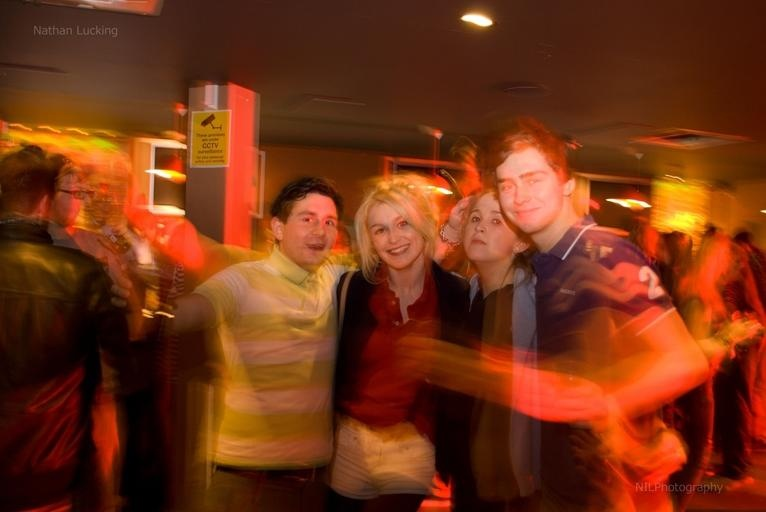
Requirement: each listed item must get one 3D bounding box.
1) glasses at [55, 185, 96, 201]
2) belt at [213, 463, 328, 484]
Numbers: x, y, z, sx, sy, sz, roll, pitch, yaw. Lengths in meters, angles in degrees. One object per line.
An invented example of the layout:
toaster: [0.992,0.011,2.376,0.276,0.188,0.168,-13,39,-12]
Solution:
glasses: [-1.885,-0.377,3.556,0.038,0.074,0.192,7,7,43]
belt: [-0.649,1.251,3.342,0.637,0.096,0.056,2,5,-4]
